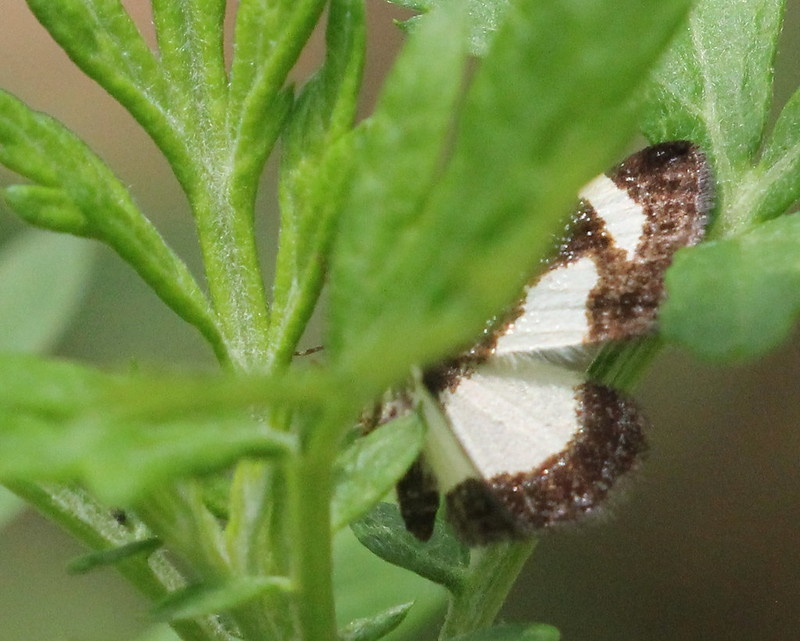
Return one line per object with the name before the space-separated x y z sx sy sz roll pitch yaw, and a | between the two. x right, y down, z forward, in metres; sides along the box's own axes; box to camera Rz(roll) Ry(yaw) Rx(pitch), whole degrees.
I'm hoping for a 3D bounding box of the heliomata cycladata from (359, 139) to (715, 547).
heliomata cycladata | 0.049 0.023 0.534 0.181 0.091 0.199 -10 52 61
